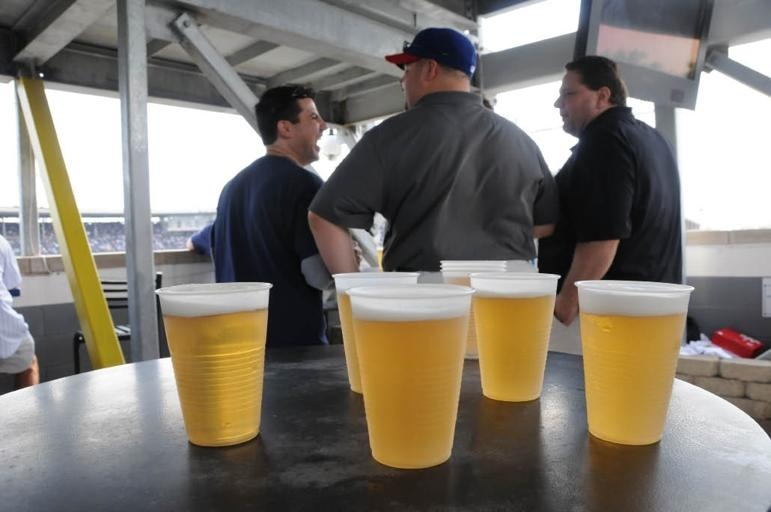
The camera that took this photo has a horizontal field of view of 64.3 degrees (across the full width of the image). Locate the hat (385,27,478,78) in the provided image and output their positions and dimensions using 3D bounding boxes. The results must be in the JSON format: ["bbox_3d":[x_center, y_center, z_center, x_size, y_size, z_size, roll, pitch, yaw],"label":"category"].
[{"bbox_3d":[0.168,-0.731,2.272,0.281,0.144,0.181,16,22,3],"label":"hat"}]

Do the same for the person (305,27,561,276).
[{"bbox_3d":[0.169,-0.387,2.192,0.841,0.863,0.440,0,7,15],"label":"person"}]
